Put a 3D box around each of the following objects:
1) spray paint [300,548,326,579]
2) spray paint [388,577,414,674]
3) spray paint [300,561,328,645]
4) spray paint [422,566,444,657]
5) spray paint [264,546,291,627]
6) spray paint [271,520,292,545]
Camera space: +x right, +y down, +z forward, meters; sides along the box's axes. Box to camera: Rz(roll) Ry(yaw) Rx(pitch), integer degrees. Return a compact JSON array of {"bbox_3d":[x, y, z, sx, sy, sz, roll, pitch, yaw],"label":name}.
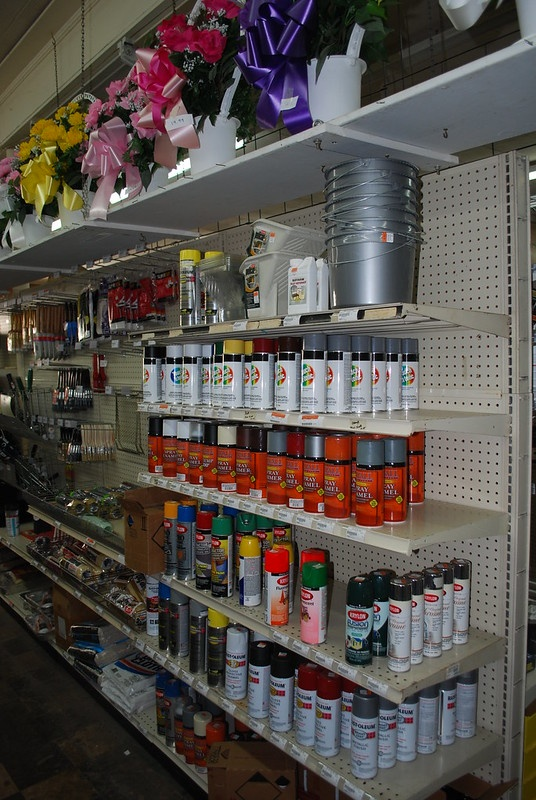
[{"bbox_3d":[0.138,0.495,1.901,0.100,0.096,0.102,1,-4,-1],"label":"spray paint"},{"bbox_3d":[0.348,0.591,1.602,0.062,0.236,0.063,1,4,6],"label":"spray paint"},{"bbox_3d":[0.145,0.599,1.843,0.079,0.233,0.102,0,1,-41],"label":"spray paint"},{"bbox_3d":[0.452,0.584,1.666,0.048,0.230,0.047,-1,2,14],"label":"spray paint"},{"bbox_3d":[0.028,0.605,1.986,0.081,0.234,0.084,0,2,-12],"label":"spray paint"},{"bbox_3d":[0.048,0.470,2.162,0.066,0.077,0.068,0,-6,0],"label":"spray paint"}]
